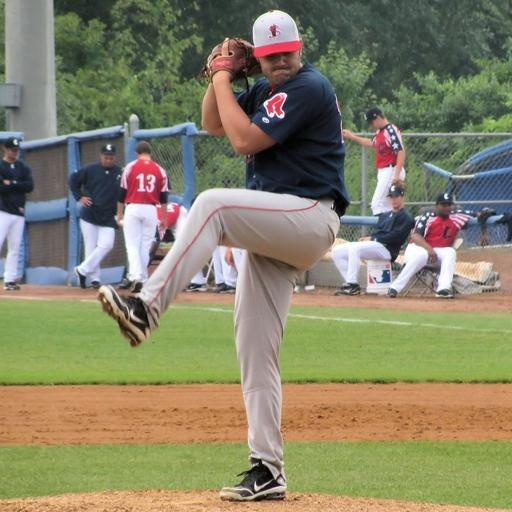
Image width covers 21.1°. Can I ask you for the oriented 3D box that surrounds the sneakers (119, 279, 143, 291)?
[{"bbox_3d":[-1.650,0.406,18.279,0.158,0.208,0.491,3,4,-19],"label":"sneakers"}]

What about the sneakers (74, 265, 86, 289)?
[{"bbox_3d":[-2.576,0.364,20.221,0.140,0.388,0.123,-7,9,-10],"label":"sneakers"}]

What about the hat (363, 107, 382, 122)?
[{"bbox_3d":[1.705,-2.070,19.570,0.226,0.206,0.179,8,-33,-3],"label":"hat"}]

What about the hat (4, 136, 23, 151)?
[{"bbox_3d":[-3.581,-1.653,20.069,0.198,0.166,0.296,-3,9,-28],"label":"hat"}]

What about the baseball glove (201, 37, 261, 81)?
[{"bbox_3d":[-0.219,-1.551,10.901,0.382,0.185,0.482,-26,-9,24],"label":"baseball glove"}]

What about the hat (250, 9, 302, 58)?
[{"bbox_3d":[0.161,-1.753,10.682,0.408,0.298,0.573,-5,17,10],"label":"hat"}]

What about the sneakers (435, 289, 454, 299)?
[{"bbox_3d":[2.639,0.520,18.836,0.242,0.152,0.318,2,12,7],"label":"sneakers"}]

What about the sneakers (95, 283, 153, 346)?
[{"bbox_3d":[-0.977,0.419,10.404,0.183,0.286,0.542,8,-36,52],"label":"sneakers"}]

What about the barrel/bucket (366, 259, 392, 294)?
[{"bbox_3d":[1.758,0.309,19.250,0.387,0.468,0.400,0,5,0],"label":"barrel/bucket"}]

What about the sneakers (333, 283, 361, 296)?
[{"bbox_3d":[1.352,0.489,19.262,0.382,0.192,0.145,4,-7,-35],"label":"sneakers"}]

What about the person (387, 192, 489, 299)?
[{"bbox_3d":[2.606,-0.106,18.945,1.195,1.740,0.832,5,-17,23],"label":"person"}]

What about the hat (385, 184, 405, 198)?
[{"bbox_3d":[1.991,-0.901,18.983,0.152,0.141,0.227,-1,0,29],"label":"hat"}]

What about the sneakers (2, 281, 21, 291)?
[{"bbox_3d":[-3.597,0.478,20.229,0.253,0.198,0.095,-1,-5,-5],"label":"sneakers"}]
